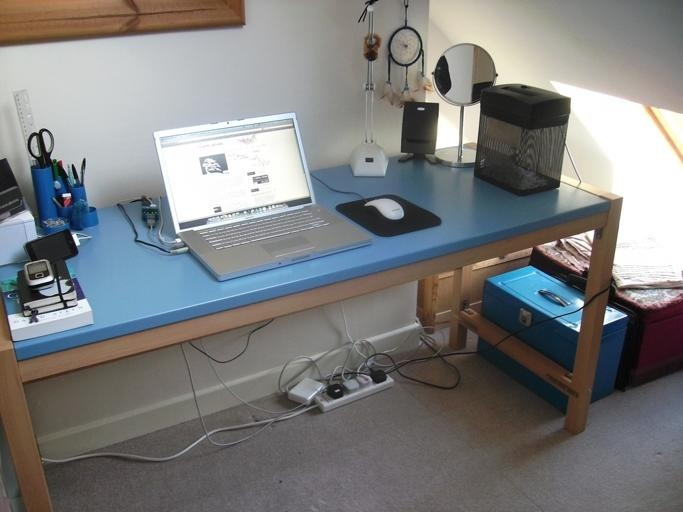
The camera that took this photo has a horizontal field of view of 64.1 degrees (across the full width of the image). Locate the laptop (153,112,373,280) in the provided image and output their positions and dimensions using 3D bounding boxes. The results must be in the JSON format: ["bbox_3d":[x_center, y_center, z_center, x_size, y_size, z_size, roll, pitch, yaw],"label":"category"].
[{"bbox_3d":[-0.291,-0.191,1.724,0.581,0.367,0.571,-19,40,-29],"label":"laptop"}]

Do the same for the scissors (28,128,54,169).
[{"bbox_3d":[-0.993,-0.350,1.783,0.011,0.163,0.096,23,38,21],"label":"scissors"}]

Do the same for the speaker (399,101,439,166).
[{"bbox_3d":[0.341,-0.516,2.317,0.155,0.265,0.128,18,29,23],"label":"speaker"}]

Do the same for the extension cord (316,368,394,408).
[{"bbox_3d":[0.054,0.581,2.357,0.303,0.074,0.121,-18,39,-27],"label":"extension cord"}]

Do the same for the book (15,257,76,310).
[{"bbox_3d":[-0.763,0.074,1.397,0.142,0.068,0.165,-7,24,-28],"label":"book"}]

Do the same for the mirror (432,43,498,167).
[{"bbox_3d":[0.472,-0.653,2.247,0.262,0.544,0.134,6,27,-5],"label":"mirror"}]
